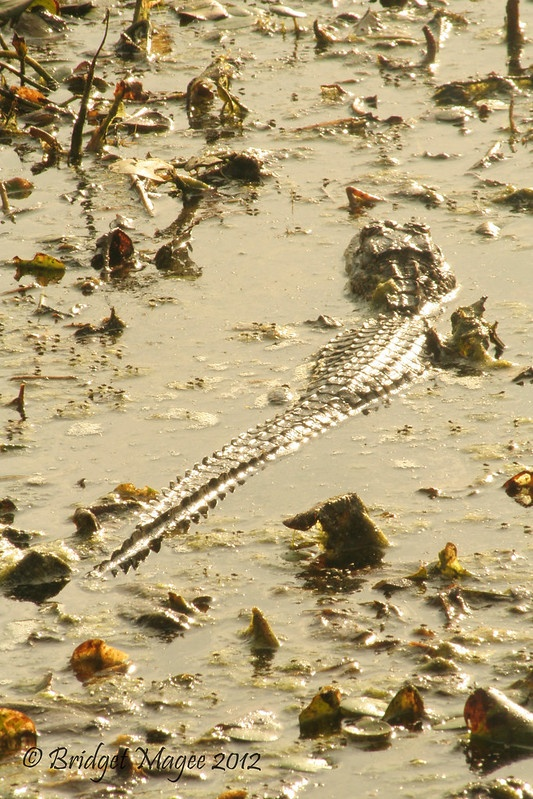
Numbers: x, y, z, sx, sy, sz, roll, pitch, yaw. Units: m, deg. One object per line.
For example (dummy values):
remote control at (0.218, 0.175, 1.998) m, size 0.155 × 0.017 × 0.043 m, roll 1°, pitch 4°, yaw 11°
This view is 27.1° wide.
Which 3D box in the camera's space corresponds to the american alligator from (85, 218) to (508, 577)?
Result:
american alligator at (0.303, -0.049, 4.935) m, size 0.689 × 0.422 × 3.274 m, roll 21°, pitch 36°, yaw 25°
